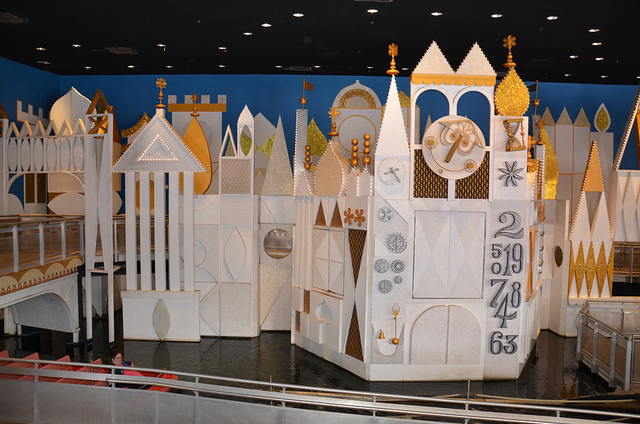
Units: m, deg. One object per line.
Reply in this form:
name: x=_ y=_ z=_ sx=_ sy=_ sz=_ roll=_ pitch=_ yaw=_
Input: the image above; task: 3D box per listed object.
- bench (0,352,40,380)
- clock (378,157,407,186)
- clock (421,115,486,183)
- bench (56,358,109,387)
bench: x=-6.183 y=3.235 z=15.336 sx=0.398 sy=0.140 sz=0.604 roll=-3 pitch=5 yaw=33
clock: x=1.496 y=-0.859 z=15.494 sx=0.624 sy=0.601 sz=0.066 roll=-1 pitch=6 yaw=1
clock: x=2.841 y=-1.252 z=15.578 sx=1.619 sy=1.525 sz=0.267 roll=7 pitch=-1 yaw=1
bench: x=-4.793 y=3.401 z=15.317 sx=0.645 sy=0.620 sz=0.659 roll=-3 pitch=-6 yaw=13
